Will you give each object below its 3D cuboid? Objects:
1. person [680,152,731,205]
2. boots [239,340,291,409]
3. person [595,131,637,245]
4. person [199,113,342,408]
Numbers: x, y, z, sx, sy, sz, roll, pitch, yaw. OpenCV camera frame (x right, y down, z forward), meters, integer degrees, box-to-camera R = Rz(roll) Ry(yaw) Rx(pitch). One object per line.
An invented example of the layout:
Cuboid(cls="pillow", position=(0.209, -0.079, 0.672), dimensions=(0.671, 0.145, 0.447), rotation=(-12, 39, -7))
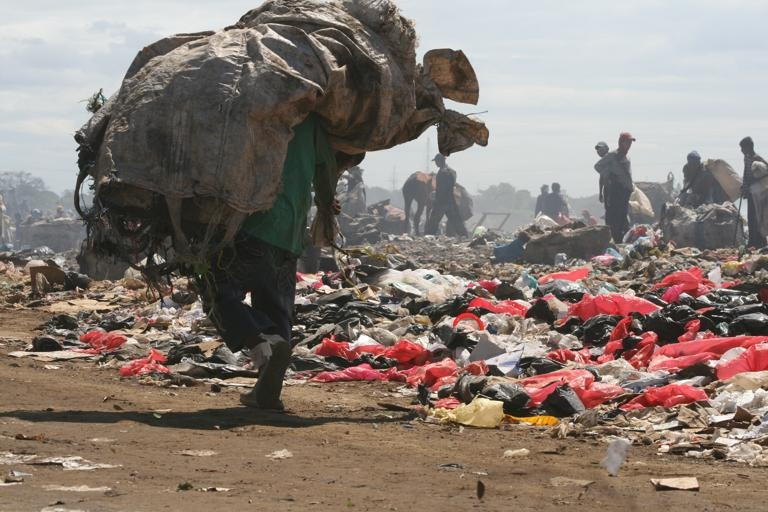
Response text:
Cuboid(cls="person", position=(5.481, -1.315, 22.345), dimensions=(0.558, 0.976, 0.944), rotation=(3, -2, -38))
Cuboid(cls="boots", position=(-0.851, 0.860, 9.355), dimensions=(0.243, 0.566, 0.295), rotation=(-3, 28, -21))
Cuboid(cls="person", position=(3.897, -1.122, 21.815), dimensions=(0.624, 1.259, 1.027), rotation=(2, -1, 9))
Cuboid(cls="person", position=(-0.785, 0.040, 9.493), dimensions=(0.528, 1.705, 0.947), rotation=(1, -1, 45))
